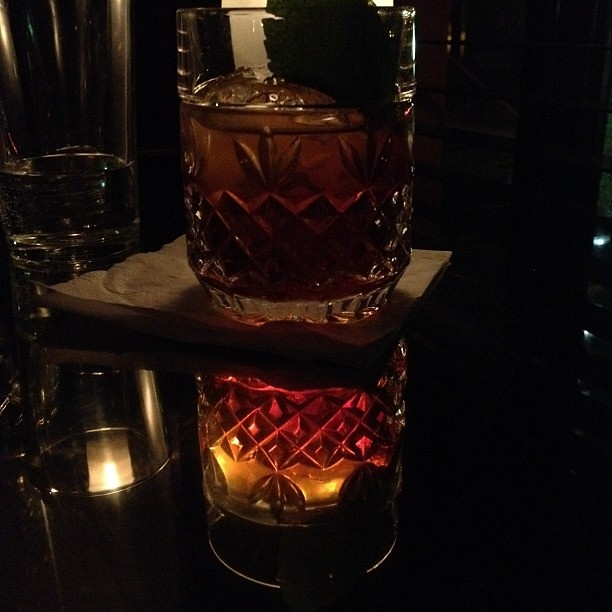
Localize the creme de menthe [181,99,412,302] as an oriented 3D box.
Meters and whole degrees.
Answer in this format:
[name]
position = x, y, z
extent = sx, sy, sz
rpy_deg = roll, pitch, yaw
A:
[creme de menthe]
position = -0.006, -0.096, 0.509
extent = 0.183, 0.156, 0.193
rpy_deg = -6, 20, -16
